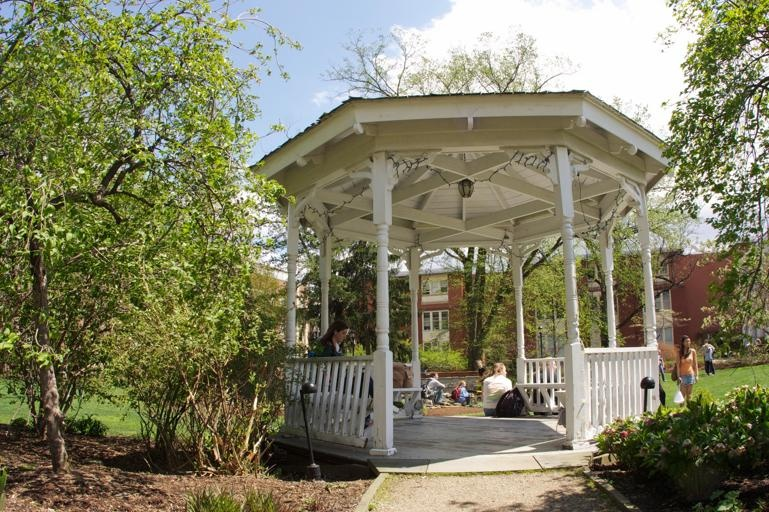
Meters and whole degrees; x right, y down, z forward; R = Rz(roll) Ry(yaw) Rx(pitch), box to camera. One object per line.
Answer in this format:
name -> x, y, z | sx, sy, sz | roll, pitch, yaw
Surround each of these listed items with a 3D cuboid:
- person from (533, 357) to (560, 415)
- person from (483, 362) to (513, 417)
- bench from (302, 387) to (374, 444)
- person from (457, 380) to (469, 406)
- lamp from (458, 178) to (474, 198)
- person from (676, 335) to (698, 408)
person -> 3.641, 2.875, 14.436 | 0.626, 1.312, 1.790 | -3, -15, 13
person -> 2.632, 3.011, 14.502 | 0.949, 1.188, 0.844 | 9, -12, -29
bench -> -0.736, 2.564, 10.357 | 1.116, 0.867, 0.069 | -5, -11, 37
person -> 2.664, 4.635, 21.779 | 0.378, 0.775, 1.120 | -2, -15, 9
lamp -> 1.595, -1.319, 12.589 | 0.280, 0.330, 0.296 | -6, -10, 14
person -> 6.836, 2.427, 14.469 | 0.437, 1.572, 2.177 | -6, -16, 24
